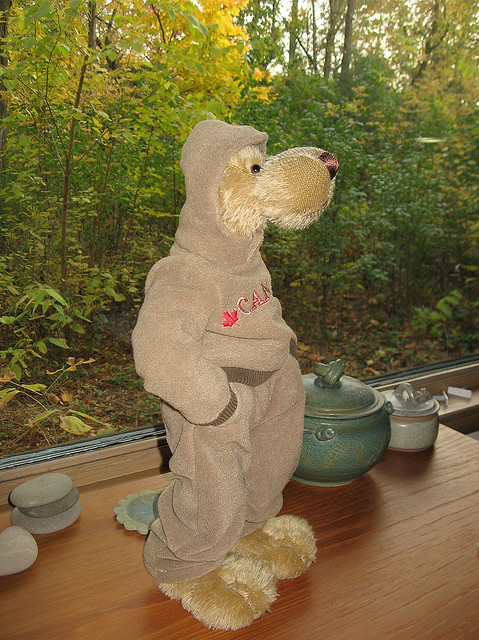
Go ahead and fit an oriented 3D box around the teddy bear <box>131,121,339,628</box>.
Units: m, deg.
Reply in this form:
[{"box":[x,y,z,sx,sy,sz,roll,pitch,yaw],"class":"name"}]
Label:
[{"box":[-0.002,0.097,0.946,0.340,0.790,0.481,5,13,21],"class":"teddy bear"}]
